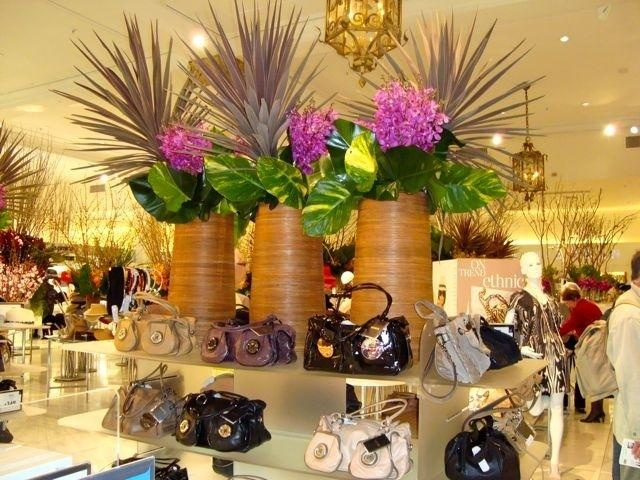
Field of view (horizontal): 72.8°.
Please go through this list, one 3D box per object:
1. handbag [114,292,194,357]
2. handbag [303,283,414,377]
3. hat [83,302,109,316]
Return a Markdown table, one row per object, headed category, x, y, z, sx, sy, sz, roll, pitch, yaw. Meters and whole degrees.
| category | x | y | z | sx | sy | sz | roll | pitch | yaw |
| --- | --- | --- | --- | --- | --- | --- | --- | --- | --- |
| handbag | -0.801 | 0.405 | 2.112 | 0.390 | 0.295 | 0.223 | 2 | -4 | 18 |
| handbag | 0.145 | 0.362 | 1.726 | 0.414 | 0.361 | 0.226 | -3 | -16 | 21 |
| hat | -3.695 | 1.127 | 7.121 | 0.306 | 0.203 | 0.758 | 0 | -3 | -29 |
